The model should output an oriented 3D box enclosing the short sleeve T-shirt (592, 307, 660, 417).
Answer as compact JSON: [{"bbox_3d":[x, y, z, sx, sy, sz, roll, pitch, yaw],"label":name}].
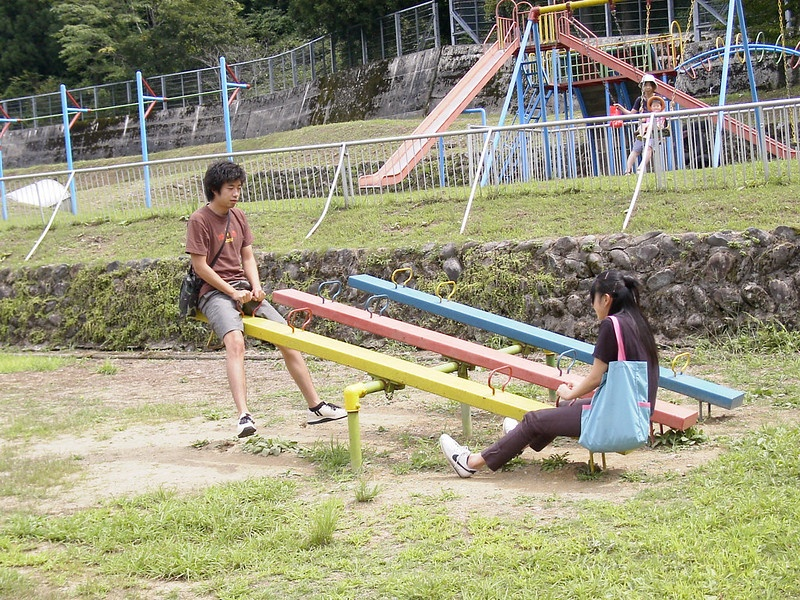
[{"bbox_3d":[2.144,0.601,9.876,0.636,0.997,0.171,-3,7,-12],"label":"short sleeve T-shirt"}]

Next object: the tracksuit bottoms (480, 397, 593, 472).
[{"bbox_3d":[1.387,1.310,10.216,1.241,0.403,0.534,-36,-7,14],"label":"tracksuit bottoms"}]

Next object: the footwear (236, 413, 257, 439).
[{"bbox_3d":[-1.627,1.351,11.043,0.182,0.290,0.233,-3,7,-9],"label":"footwear"}]

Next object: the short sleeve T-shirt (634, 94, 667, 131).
[{"bbox_3d":[4.588,-3.326,18.948,0.478,0.552,1.046,13,43,14],"label":"short sleeve T-shirt"}]

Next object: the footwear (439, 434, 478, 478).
[{"bbox_3d":[0.567,1.536,10.363,0.211,0.522,0.190,-41,-12,29],"label":"footwear"}]

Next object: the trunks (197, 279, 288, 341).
[{"bbox_3d":[-1.849,0.171,11.479,0.659,0.249,0.811,-18,26,-39],"label":"trunks"}]

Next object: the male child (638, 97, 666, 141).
[{"bbox_3d":[3.918,-2.654,16.236,0.375,1.053,0.330,5,2,20],"label":"male child"}]

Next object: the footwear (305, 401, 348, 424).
[{"bbox_3d":[-0.811,1.264,11.657,0.514,0.213,0.219,-7,4,2],"label":"footwear"}]

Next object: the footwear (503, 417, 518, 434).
[{"bbox_3d":[1.106,1.303,10.696,0.148,0.186,0.198,1,-5,5],"label":"footwear"}]
